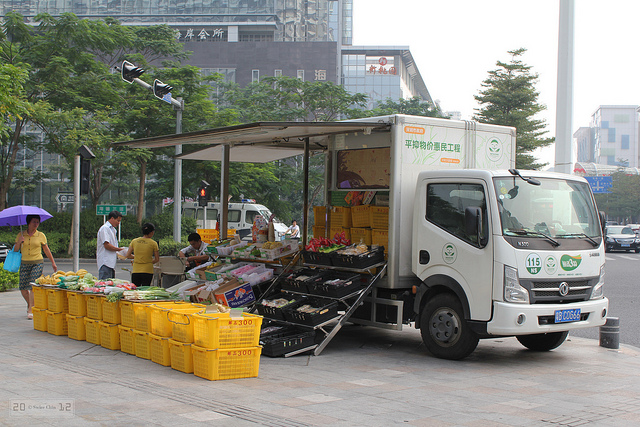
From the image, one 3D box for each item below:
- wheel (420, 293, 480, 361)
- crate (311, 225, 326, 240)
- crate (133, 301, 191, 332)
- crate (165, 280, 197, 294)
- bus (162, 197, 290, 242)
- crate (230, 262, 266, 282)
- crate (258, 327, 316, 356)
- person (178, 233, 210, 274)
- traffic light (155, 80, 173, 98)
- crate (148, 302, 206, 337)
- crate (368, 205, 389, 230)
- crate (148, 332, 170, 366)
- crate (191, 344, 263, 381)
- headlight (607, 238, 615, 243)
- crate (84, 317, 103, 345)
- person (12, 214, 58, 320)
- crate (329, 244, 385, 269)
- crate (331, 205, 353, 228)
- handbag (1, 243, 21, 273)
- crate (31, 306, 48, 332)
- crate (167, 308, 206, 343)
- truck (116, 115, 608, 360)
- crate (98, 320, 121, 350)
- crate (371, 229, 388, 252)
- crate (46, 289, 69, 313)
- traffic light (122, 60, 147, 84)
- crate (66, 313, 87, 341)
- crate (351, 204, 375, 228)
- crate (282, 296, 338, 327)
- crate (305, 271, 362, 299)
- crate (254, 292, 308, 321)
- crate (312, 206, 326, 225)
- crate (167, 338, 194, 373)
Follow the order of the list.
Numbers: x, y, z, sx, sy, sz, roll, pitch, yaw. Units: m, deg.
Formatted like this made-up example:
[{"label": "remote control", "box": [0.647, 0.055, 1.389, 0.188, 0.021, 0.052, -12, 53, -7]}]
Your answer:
[{"label": "wheel", "box": [2.326, 2.047, 12.260, 1.081, 1.200, 0.212, 5, 6, 38]}, {"label": "crate", "box": [-0.033, 0.383, 14.828, 0.280, 0.259, 0.276, 3, 4, 13]}, {"label": "crate", "box": [-2.968, 1.807, 11.942, 0.608, 0.248, 0.415, 4, -6, -37]}, {"label": "crate", "box": [-2.928, 1.562, 14.548, 0.290, 0.143, 0.396, -5, 0, 23]}, {"label": "bus", "box": [-4.474, 0.664, 35.937, 7.429, 2.807, 2.821, 2, 0, 33]}, {"label": "crate", "box": [-1.532, 1.207, 14.245, 0.478, 0.145, 0.353, -15, 11, -32]}, {"label": "crate", "box": [-0.629, 2.352, 12.517, 1.063, 0.404, 0.522, -1, 5, -30]}, {"label": "person", "box": [-3.176, 1.013, 16.981, 0.643, 0.994, 0.666, -23, -34, 40]}, {"label": "traffic light", "box": [-5.361, -4.192, 22.925, 0.510, 0.582, 0.460, 1, 5, -16]}, {"label": "crate", "box": [-2.509, 1.828, 11.711, 0.819, 0.333, 0.561, 3, -4, -37]}, {"label": "crate", "box": [1.161, 0.073, 13.317, 0.411, 0.414, 0.601, -1, 2, -21]}, {"label": "crate", "box": [-2.763, 2.322, 11.572, 0.391, 0.352, 0.544, 2, -2, -40]}, {"label": "crate", "box": [-1.525, 2.399, 10.995, 1.106, 0.533, 0.354, 1, 4, -10]}, {"label": "headlight", "box": [17.186, 1.569, 39.853, 0.161, 0.224, 0.543, 1, 4, -8]}, {"label": "crate", "box": [-4.322, 2.222, 13.012, 0.505, 0.350, 0.355, 6, 1, 39]}, {"label": "person", "box": [-6.473, 1.197, 15.116, 0.754, 2.316, 0.554, 0, 5, -22]}, {"label": "crate", "box": [0.638, 0.857, 12.955, 0.555, 0.197, 0.614, -10, 9, -33]}, {"label": "crate", "box": [0.428, 0.080, 14.330, 0.411, 0.436, 0.683, -2, 3, -31]}, {"label": "handbag", "box": [-6.842, 0.988, 14.994, 0.323, 0.581, 0.527, 0, 5, -23]}, {"label": "crate", "box": [-5.786, 2.167, 14.005, 0.436, 0.418, 0.541, -1, 2, -30]}, {"label": "crate", "box": [-2.300, 1.854, 11.188, 0.643, 0.426, 0.481, 5, -6, -42]}, {"label": "truck", "box": [1.637, 0.413, 13.550, 7.729, 4.658, 3.685, 3, 5, 22]}, {"label": "crate", "box": [-3.852, 2.274, 12.724, 0.498, 0.439, 0.697, 5, -5, -37]}, {"label": "crate", "box": [1.177, 0.523, 13.224, 0.390, 0.417, 0.422, -2, -5, 6]}, {"label": "crate", "box": [-5.286, 1.746, 13.545, 0.571, 0.358, 0.406, -1, -3, 26]}, {"label": "traffic light", "box": [-6.042, -4.497, 21.657, 0.602, 0.573, 0.957, 1, 4, -15]}, {"label": "crate", "box": [-4.751, 2.212, 13.372, 0.476, 0.429, 0.637, 0, 0, -43]}, {"label": "crate", "box": [0.842, 0.028, 13.848, 0.457, 0.393, 0.535, -3, 5, -33]}, {"label": "crate", "box": [-0.191, 1.829, 12.738, 0.905, 0.438, 0.556, 5, 5, 39]}, {"label": "crate", "box": [0.256, 1.350, 12.953, 0.690, 0.430, 0.823, -2, 5, -39]}, {"label": "crate", "box": [-0.794, 1.823, 13.218, 0.567, 0.217, 0.712, 4, 6, 42]}, {"label": "crate", "box": [-0.003, 0.049, 14.903, 0.382, 0.489, 0.364, 2, 6, 9]}, {"label": "crate", "box": [-2.239, 2.300, 11.340, 0.490, 0.465, 0.673, 1, -1, -32]}]
